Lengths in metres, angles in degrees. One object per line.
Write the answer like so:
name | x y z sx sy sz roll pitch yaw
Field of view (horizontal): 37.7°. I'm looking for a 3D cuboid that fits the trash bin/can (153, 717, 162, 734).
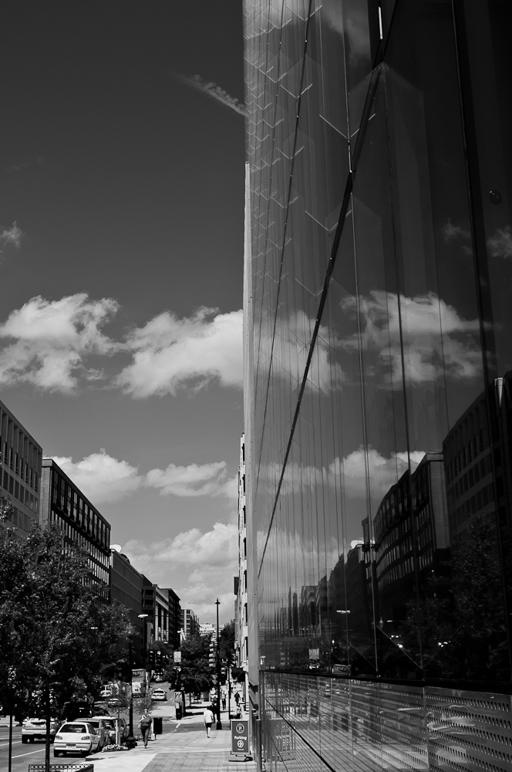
trash bin/can | -6.076 20.747 46.096 0.442 0.806 1.895 1 -22 -12
